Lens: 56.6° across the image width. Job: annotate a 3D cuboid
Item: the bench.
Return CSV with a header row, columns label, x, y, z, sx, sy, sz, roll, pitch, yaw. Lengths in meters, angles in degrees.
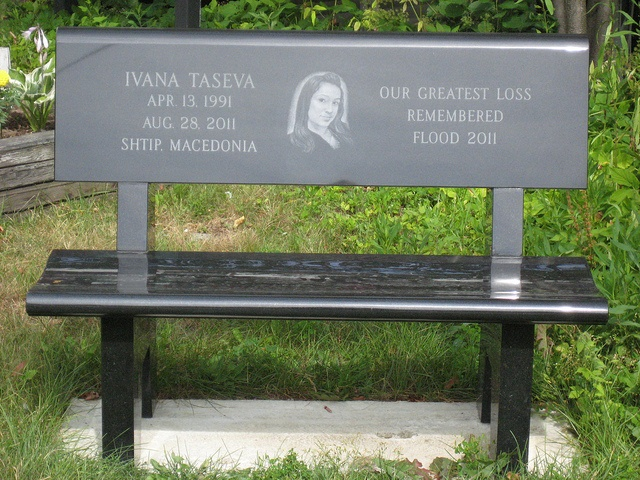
label,x,y,z,sx,sy,sz,roll,pitch,yaw
bench,0.049,0.084,2.807,2.207,1.693,0.904,1,15,0
